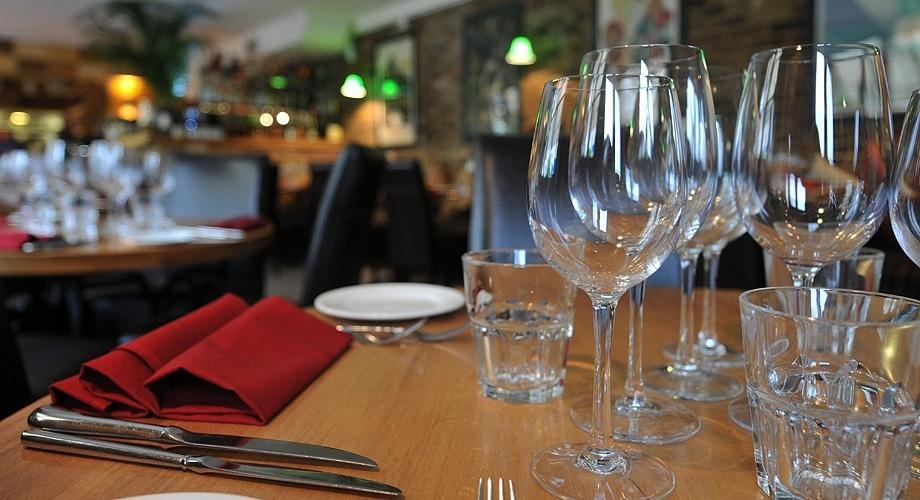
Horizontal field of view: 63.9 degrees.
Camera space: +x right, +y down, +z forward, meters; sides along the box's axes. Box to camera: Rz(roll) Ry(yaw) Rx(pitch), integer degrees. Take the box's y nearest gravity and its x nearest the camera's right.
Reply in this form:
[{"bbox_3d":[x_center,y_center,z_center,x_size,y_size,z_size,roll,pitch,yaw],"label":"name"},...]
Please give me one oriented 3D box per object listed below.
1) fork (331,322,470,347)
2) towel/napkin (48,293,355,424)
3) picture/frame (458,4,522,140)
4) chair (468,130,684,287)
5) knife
[{"bbox_3d":[-0.098,0.135,1.173,0.183,0.024,0.020,4,41,-4],"label":"fork"},{"bbox_3d":[-0.346,0.162,1.026,0.244,0.064,0.231,6,14,10],"label":"towel/napkin"},{"bbox_3d":[0.215,-1.267,5.261,0.532,0.895,0.162,0,11,35],"label":"picture/frame"},{"bbox_3d":[0.242,-0.065,1.864,0.398,0.444,0.394,1,-7,-6],"label":"chair"},{"bbox_3d":[-0.331,0.261,0.950,0.430,0.043,0.079,2,28,2],"label":"knife"}]
